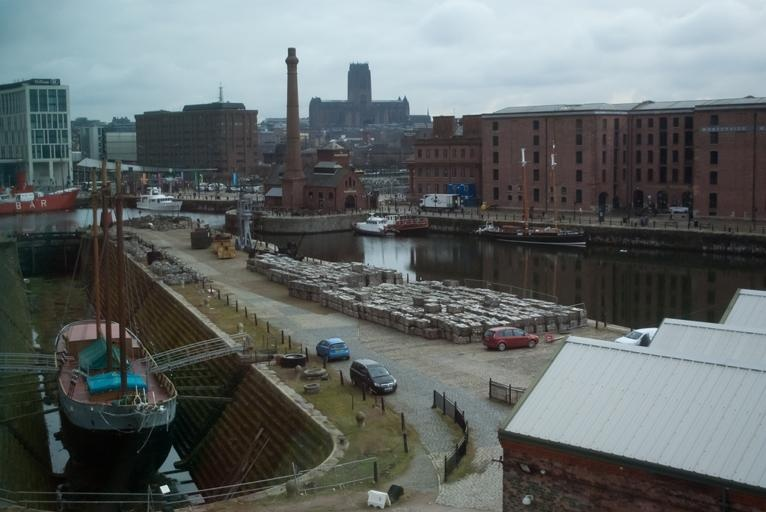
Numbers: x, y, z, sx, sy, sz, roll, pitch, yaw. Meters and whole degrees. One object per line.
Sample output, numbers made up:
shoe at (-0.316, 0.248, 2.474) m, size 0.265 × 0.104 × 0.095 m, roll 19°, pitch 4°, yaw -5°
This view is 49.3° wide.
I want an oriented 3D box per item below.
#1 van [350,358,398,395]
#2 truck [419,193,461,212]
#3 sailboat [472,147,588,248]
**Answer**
van at (-0.550, 5.804, 40.144) m, size 1.199 × 1.060 × 2.156 m, roll -5°, pitch 9°, yaw -35°
truck at (8.003, -7.086, 114.536) m, size 4.484 × 2.346 × 2.660 m, roll 6°, pitch 9°, yaw 34°
sailboat at (16.862, -6.737, 93.330) m, size 11.877 × 10.951 × 2.766 m, roll 5°, pitch 15°, yaw 21°
